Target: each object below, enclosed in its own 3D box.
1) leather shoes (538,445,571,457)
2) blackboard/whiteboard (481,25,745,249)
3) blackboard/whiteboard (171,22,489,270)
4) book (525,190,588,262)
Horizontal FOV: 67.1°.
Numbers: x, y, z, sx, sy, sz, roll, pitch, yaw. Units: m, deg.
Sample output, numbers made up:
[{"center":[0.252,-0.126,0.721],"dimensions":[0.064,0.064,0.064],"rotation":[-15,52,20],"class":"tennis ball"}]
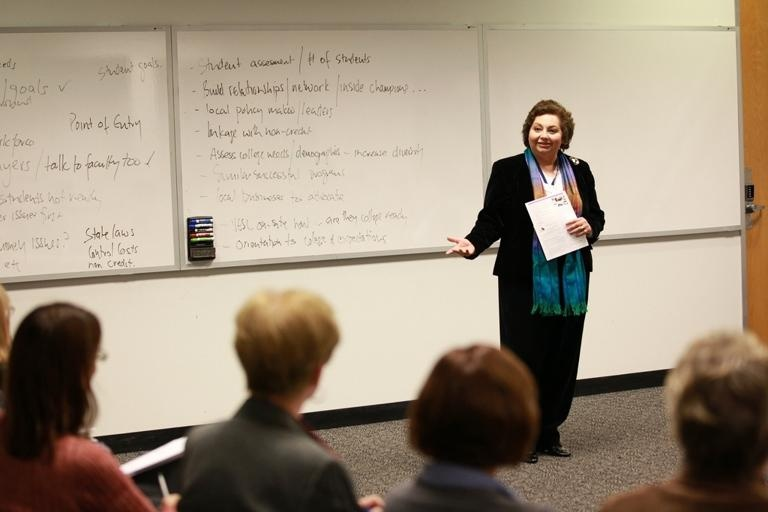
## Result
[{"center":[0.942,1.046,3.140],"dimensions":[0.144,0.066,0.067],"rotation":[-2,1,11],"class":"leather shoes"},{"center":[1.429,-0.803,3.724],"dimensions":[1.429,1.106,0.051],"rotation":[-2,4,-7],"class":"blackboard/whiteboard"},{"center":[-0.416,-0.711,3.598],"dimensions":[1.465,1.127,0.051],"rotation":[-2,1,-15],"class":"blackboard/whiteboard"},{"center":[0.876,-0.154,2.969],"dimensions":[0.251,0.348,0.027],"rotation":[-20,3,-4],"class":"book"}]
